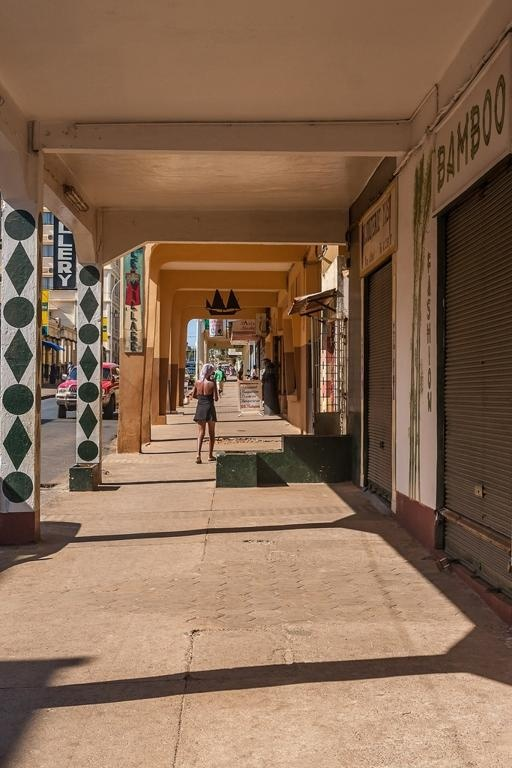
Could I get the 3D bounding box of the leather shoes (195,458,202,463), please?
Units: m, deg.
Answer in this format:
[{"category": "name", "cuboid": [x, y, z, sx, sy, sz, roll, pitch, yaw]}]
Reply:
[{"category": "leather shoes", "cuboid": [-1.261, 1.700, 12.018, 0.113, 0.141, 0.355, 0, -3, 2]}]
